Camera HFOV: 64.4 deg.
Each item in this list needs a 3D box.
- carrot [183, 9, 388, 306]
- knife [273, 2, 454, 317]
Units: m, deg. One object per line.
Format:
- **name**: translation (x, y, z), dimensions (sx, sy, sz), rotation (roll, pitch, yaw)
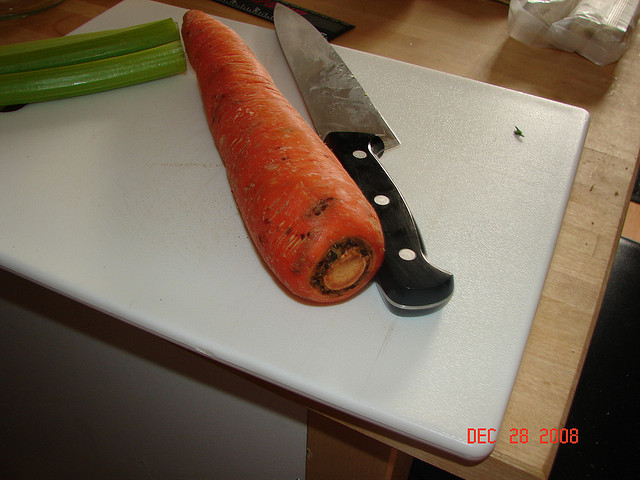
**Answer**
- **carrot**: translation (-0.117, -0.186, 0.862), dimensions (0.170, 0.167, 0.633), rotation (-38, 65, 13)
- **knife**: translation (0.037, -0.205, 0.932), dimensions (0.159, 0.065, 0.735), rotation (-11, 47, -13)
